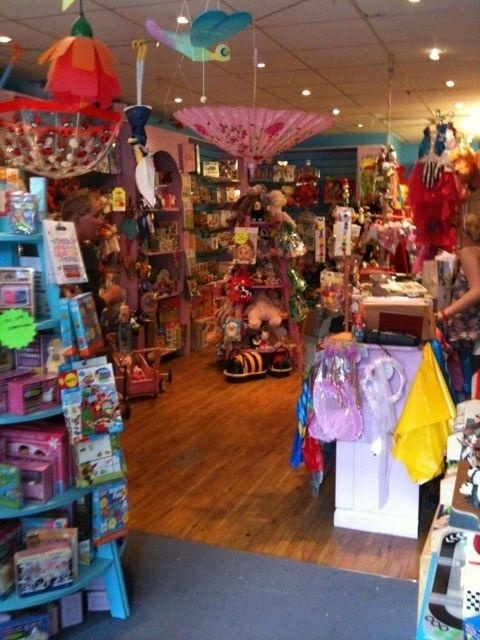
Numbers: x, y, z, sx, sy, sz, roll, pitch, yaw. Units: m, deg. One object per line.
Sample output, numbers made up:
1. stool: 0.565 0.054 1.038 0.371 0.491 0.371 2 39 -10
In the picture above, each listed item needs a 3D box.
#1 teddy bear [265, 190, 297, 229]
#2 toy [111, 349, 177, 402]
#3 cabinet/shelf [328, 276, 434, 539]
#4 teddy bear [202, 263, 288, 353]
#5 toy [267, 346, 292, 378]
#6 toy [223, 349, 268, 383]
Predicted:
1. teddy bear: 0.538 -1.363 5.898 0.269 0.426 0.485 5 9 25
2. toy: -0.980 0.574 5.002 0.400 0.601 0.607 -1 4 -5
3. cabinet/shelf: 0.749 0.513 2.495 0.515 1.226 1.344 1 6 13
4. teddy bear: 0.145 -0.103 6.235 1.037 1.062 0.595 -4 -5 5
5. toy: 0.501 0.525 5.912 0.258 0.327 0.373 1 -4 -8
6. toy: 0.072 0.561 5.833 0.461 0.302 0.326 1 0 -40
